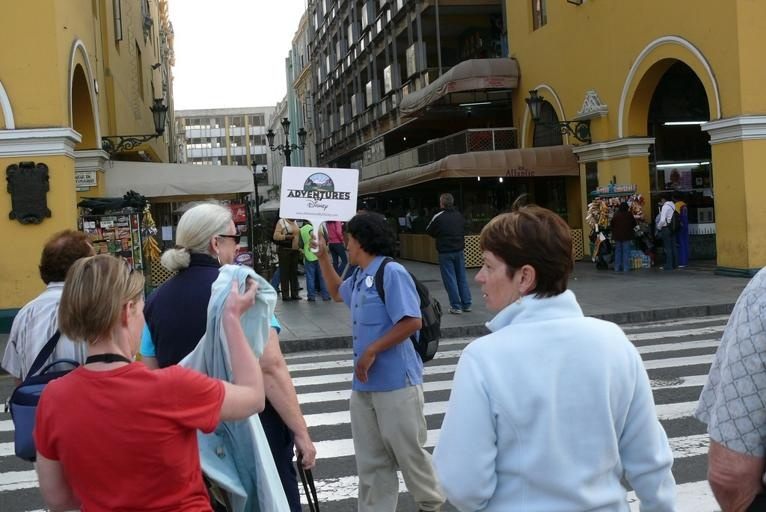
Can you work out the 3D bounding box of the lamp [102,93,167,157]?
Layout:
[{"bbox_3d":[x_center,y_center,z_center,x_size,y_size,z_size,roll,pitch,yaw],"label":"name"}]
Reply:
[{"bbox_3d":[-6.901,-3.536,18.991,1.720,1.632,0.481,-4,18,-24],"label":"lamp"}]

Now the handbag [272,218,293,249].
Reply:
[{"bbox_3d":[-2.421,-0.530,16.540,0.481,0.836,0.787,-1,4,1],"label":"handbag"}]

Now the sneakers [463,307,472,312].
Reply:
[{"bbox_3d":[1.671,1.069,13.608,0.063,0.087,0.174,2,-4,-25],"label":"sneakers"}]

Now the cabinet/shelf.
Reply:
[{"bbox_3d":[-5.435,-0.128,14.045,1.010,2.118,0.673,-4,36,-16],"label":"cabinet/shelf"}]

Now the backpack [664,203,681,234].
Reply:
[{"bbox_3d":[7.978,-1.013,18.743,0.442,0.881,0.542,4,-7,29],"label":"backpack"}]
